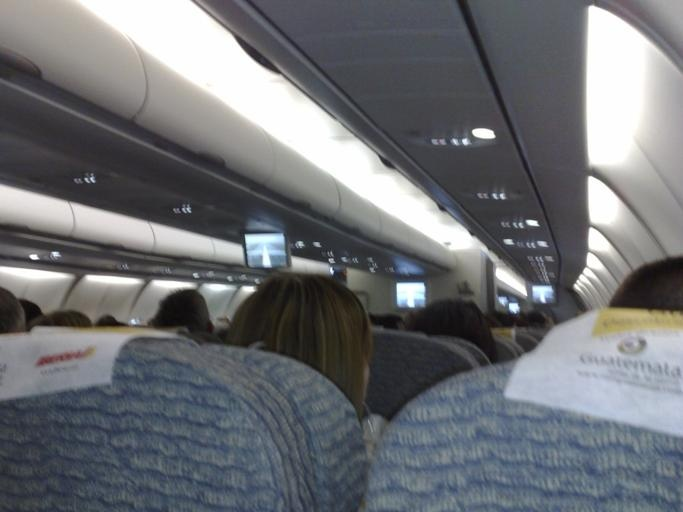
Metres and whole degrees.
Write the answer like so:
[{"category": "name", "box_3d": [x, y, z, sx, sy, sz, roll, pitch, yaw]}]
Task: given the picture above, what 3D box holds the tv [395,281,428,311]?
[{"category": "tv", "box_3d": [1.235, 0.679, 7.939, 0.682, 0.682, 0.406, -2, -13, 9]}]
